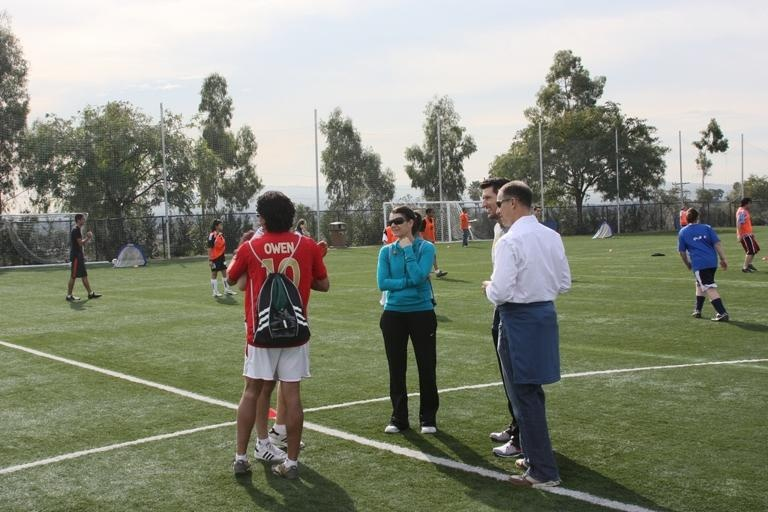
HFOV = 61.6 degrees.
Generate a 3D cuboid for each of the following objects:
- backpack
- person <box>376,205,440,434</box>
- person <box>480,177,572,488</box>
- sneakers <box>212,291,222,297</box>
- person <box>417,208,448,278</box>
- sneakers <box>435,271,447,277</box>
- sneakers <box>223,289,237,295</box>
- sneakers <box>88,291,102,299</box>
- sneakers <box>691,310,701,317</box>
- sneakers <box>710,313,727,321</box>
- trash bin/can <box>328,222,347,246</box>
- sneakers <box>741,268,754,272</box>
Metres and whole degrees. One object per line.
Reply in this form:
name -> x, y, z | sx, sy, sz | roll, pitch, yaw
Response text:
backpack -> -1.035, 0.387, 6.370 | 0.530, 1.040, 0.352 | -3, 9, -11
person -> 0.268, 0.681, 7.422 | 0.657, 2.484, 0.871 | -1, 8, 3
person -> 1.372, 0.721, 6.311 | 0.751, 2.865, 0.681 | 1, 9, 15
sneakers -> -4.489, 1.034, 17.332 | 0.110, 0.129, 0.300 | -5, -2, -38
person -> 1.561, -0.448, 22.369 | 0.959, 2.438, 1.199 | -6, 7, -42
sneakers -> 1.863, 0.574, 20.447 | 0.441, 0.206, 0.146 | -6, 8, 0
sneakers -> -4.310, 1.010, 17.948 | 0.396, 0.159, 0.146 | 2, 2, 14
sneakers -> -7.817, 1.060, 17.533 | 0.411, 0.186, 0.138 | -3, 9, -11
sneakers -> 6.011, 1.092, 12.396 | 0.145, 0.138, 0.293 | 2, 9, 24
sneakers -> 6.249, 1.117, 12.003 | 0.292, 0.155, 0.297 | 4, 10, 34
trash bin/can -> -2.917, -1.313, 40.462 | 0.939, 1.565, 0.714 | -4, 9, -19
sneakers -> 10.577, 0.431, 18.754 | 0.334, 0.134, 0.123 | 0, 32, -8
